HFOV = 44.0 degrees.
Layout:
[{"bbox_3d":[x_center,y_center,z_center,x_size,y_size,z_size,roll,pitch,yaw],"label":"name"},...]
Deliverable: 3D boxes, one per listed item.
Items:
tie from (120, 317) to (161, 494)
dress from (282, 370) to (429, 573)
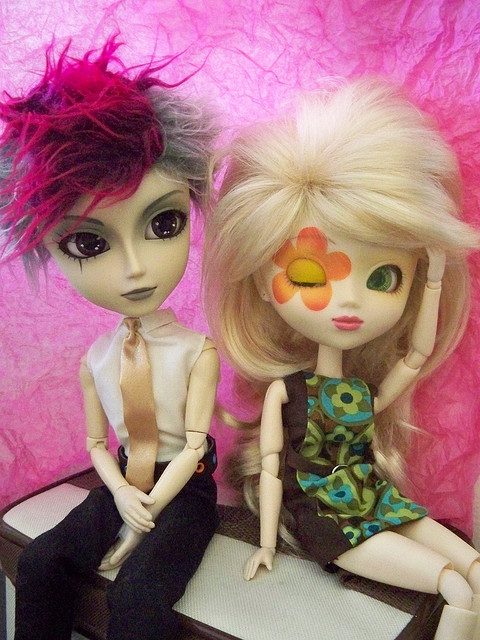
[{"bbox_3d":[-0.245,0.206,1.432,0.086,0.374,0.235,0,28,-13],"label":"tie"},{"bbox_3d":[0.301,0.338,1.411,0.364,0.375,0.409,3,8,-8],"label":"dress"}]
